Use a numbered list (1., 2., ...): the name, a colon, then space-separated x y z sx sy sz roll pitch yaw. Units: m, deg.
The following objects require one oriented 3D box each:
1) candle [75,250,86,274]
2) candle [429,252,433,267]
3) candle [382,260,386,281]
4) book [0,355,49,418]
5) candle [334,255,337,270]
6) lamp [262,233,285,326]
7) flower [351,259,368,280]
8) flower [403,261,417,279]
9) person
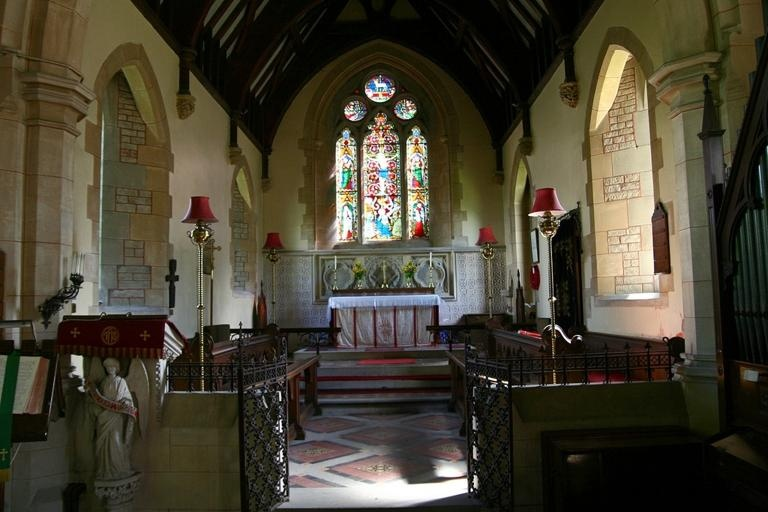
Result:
1. candle: -3.599 0.082 7.907 0.125 0.245 0.484 0 4 -24
2. candle: 0.977 0.071 14.136 0.083 0.308 0.207 2 3 11
3. candle: -0.006 0.321 14.118 0.069 0.417 0.192 1 3 -3
4. book: -3.089 1.124 5.813 0.433 0.472 0.107 3 -3 -14
5. candle: -1.027 0.137 14.127 0.069 0.275 0.218 1 3 0
6. lamp: -2.200 0.592 13.350 0.401 2.018 0.422 -1 1 12
7. flower: -0.531 0.262 13.767 0.331 0.453 0.366 0 -6 -8
8. flower: 0.507 0.286 13.731 0.308 0.362 0.310 0 -1 20
9. person: -2.625 1.557 6.433 0.448 1.169 0.158 1 2 -5
